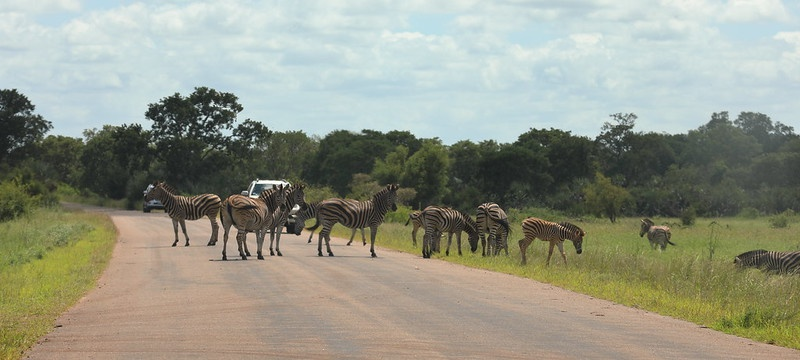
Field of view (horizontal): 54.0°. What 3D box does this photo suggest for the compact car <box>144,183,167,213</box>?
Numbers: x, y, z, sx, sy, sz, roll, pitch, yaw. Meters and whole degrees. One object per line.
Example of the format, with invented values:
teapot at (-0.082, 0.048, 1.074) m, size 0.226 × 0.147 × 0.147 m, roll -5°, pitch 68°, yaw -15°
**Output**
compact car at (-27.591, 2.115, 88.098) m, size 3.380 × 2.295 × 5.158 m, roll -1°, pitch 16°, yaw -26°
